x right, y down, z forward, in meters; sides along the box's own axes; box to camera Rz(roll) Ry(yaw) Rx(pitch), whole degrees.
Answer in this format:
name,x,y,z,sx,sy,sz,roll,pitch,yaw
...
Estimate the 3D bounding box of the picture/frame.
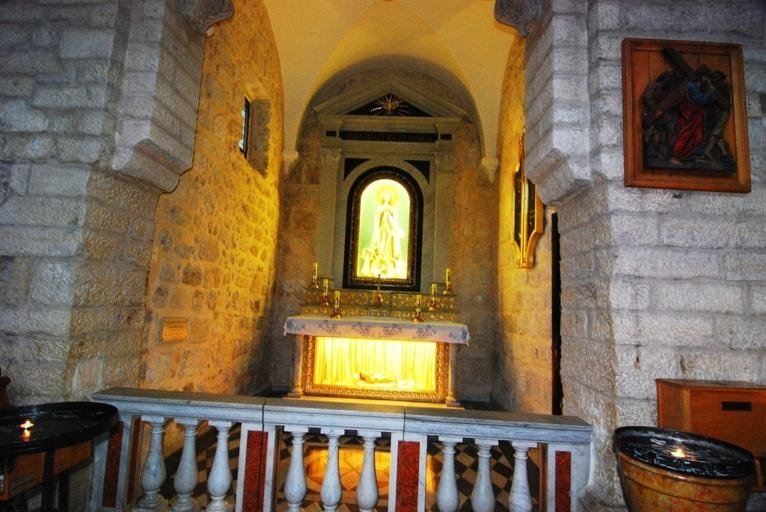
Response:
name,x,y,z,sx,sy,sz,roll,pitch,yaw
picture/frame,1.702,-0.766,3.075,0.857,1.068,0.073,1,-8,-5
